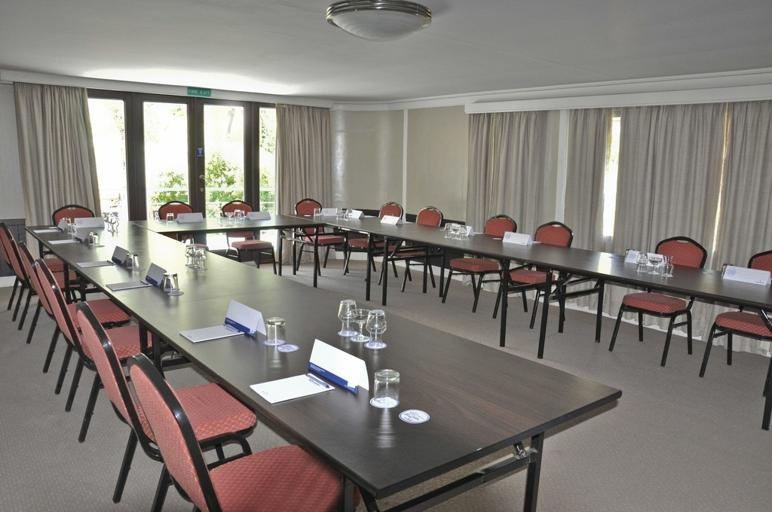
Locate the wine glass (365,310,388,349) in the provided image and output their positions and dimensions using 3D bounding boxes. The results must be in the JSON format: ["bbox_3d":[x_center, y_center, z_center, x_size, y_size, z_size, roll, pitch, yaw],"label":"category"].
[{"bbox_3d":[-0.067,0.491,3.449,0.182,0.235,0.171,7,15,23],"label":"wine glass"}]

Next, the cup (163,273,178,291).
[{"bbox_3d":[-1.730,0.214,4.225,0.131,0.144,0.129,1,9,0],"label":"cup"}]

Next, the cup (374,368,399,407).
[{"bbox_3d":[-0.001,0.703,2.868,0.184,0.172,0.161,-4,9,-26],"label":"cup"}]

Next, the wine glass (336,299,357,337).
[{"bbox_3d":[-0.264,0.407,3.587,0.123,0.230,0.272,-2,11,-4],"label":"wine glass"}]

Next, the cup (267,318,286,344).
[{"bbox_3d":[-0.717,0.473,3.423,0.148,0.162,0.146,1,8,0],"label":"cup"}]

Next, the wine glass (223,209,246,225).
[{"bbox_3d":[-2.299,-0.585,7.986,0.317,0.195,0.314,-9,14,-42],"label":"wine glass"}]

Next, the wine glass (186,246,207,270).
[{"bbox_3d":[-1.838,0.026,5.154,0.140,0.177,0.482,-2,2,-27],"label":"wine glass"}]
